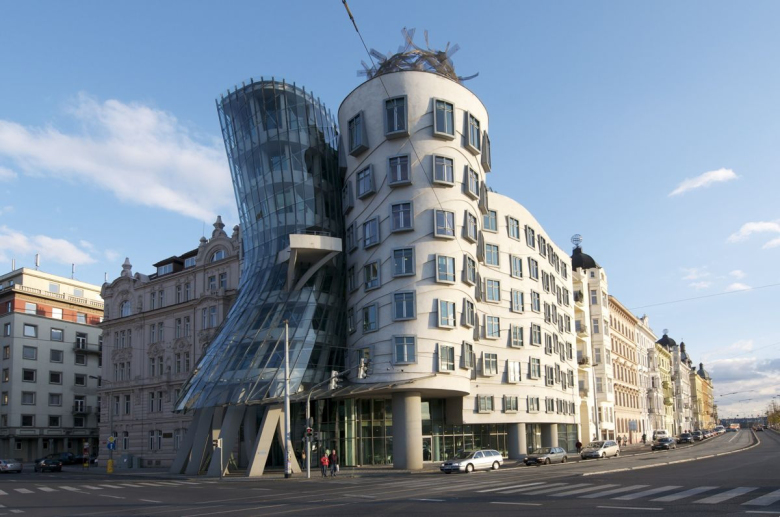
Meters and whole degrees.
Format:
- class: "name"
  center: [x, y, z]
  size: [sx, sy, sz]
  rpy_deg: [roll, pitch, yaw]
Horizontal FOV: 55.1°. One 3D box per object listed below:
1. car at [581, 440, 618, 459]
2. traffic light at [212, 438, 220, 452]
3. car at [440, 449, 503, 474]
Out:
- class: "car"
  center: [22.052, 20.343, 78.102]
  size: [3.984, 2.341, 2.159]
  rpy_deg: [16, -30, -35]
- class: "traffic light"
  center: [-15.232, 16.562, 65.756]
  size: [0.677, 1.055, 1.415]
  rpy_deg: [2, -25, -10]
- class: "car"
  center: [7.016, 18.107, 65.180]
  size: [4.871, 1.527, 2.156]
  rpy_deg: [14, -23, -37]
